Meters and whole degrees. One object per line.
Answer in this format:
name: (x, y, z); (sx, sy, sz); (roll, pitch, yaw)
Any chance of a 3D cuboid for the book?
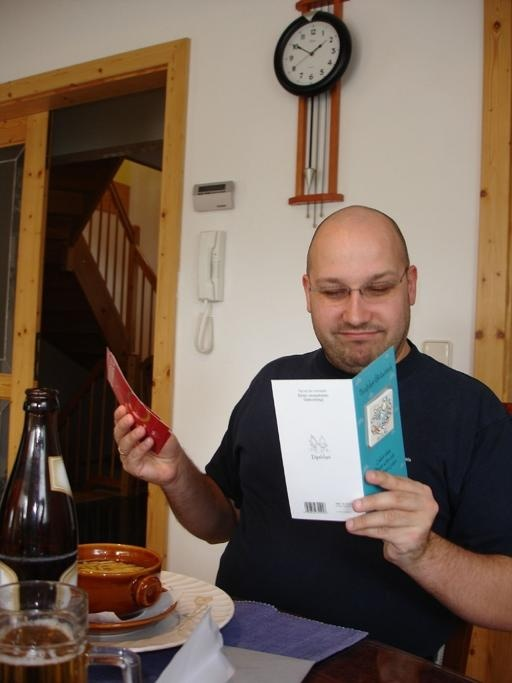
book: (0.106, 0.121, 0.766); (0.159, 0.218, 0.149); (-2, -9, 13)
